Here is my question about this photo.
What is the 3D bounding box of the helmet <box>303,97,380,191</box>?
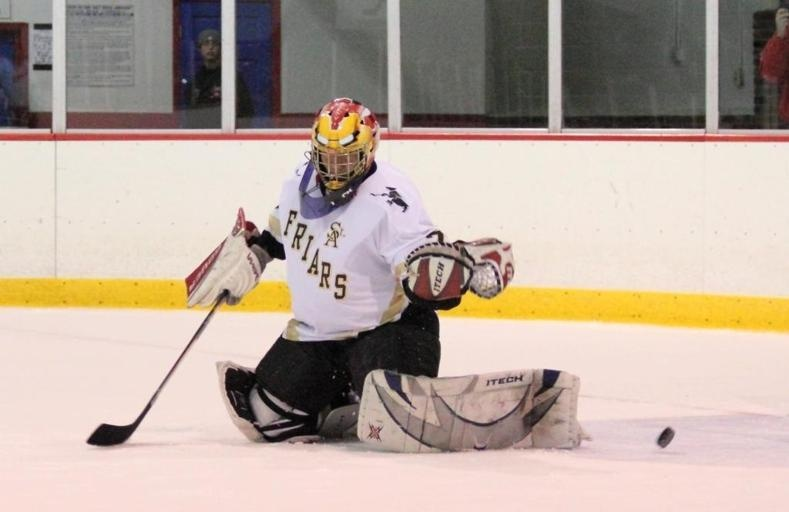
[{"bbox_3d":[-0.243,-0.691,7.616,0.425,0.492,0.527,8,24,15],"label":"helmet"}]

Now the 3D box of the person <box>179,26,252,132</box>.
[{"bbox_3d":[-1.478,-1.433,10.305,0.764,0.731,0.441,6,12,23],"label":"person"}]

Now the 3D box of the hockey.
[{"bbox_3d":[-1.587,0.775,8.438,0.183,1.126,0.152,43,-23,5],"label":"hockey"}]
